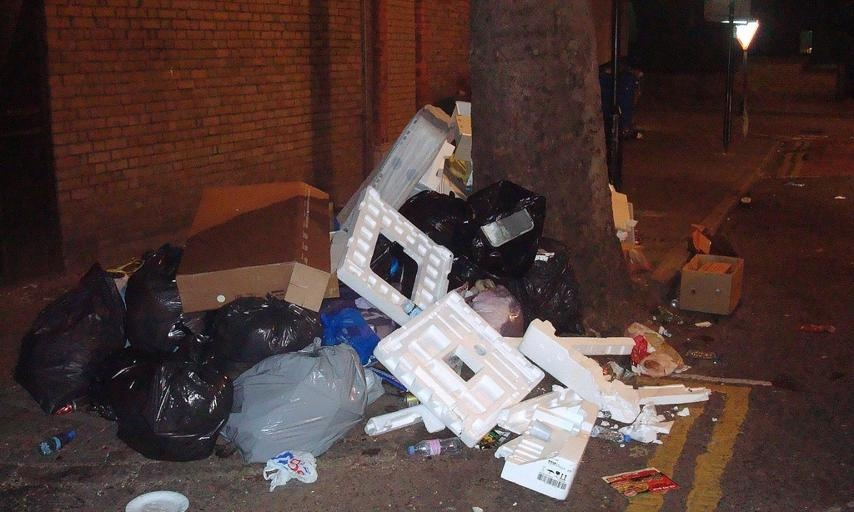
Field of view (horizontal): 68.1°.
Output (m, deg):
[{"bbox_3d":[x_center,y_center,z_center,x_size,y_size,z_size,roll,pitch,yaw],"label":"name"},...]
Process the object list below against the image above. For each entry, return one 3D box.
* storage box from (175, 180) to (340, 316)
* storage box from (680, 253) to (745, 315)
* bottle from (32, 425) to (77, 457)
[{"bbox_3d":[-1.669,-0.192,6.558,1.556,0.479,1.997,4,31,-4],"label":"storage box"},{"bbox_3d":[3.258,0.388,7.384,0.720,0.497,0.717,6,24,35],"label":"storage box"},{"bbox_3d":[-3.227,1.616,5.493,0.131,0.125,0.363,-1,3,6],"label":"bottle"}]
